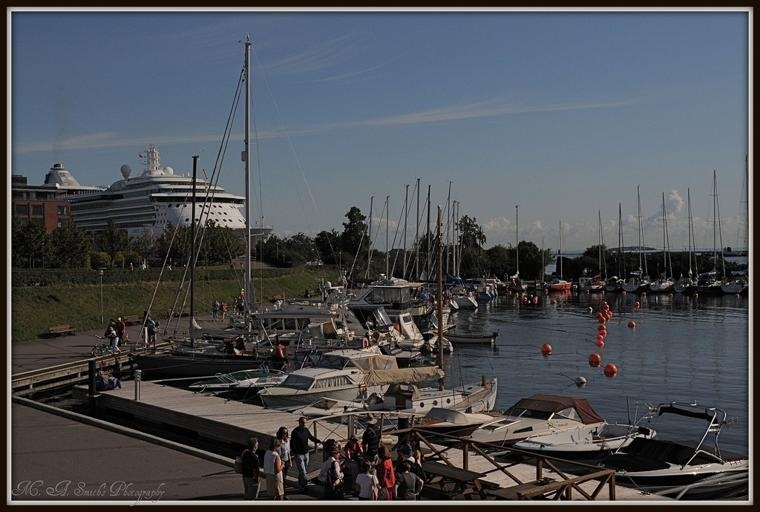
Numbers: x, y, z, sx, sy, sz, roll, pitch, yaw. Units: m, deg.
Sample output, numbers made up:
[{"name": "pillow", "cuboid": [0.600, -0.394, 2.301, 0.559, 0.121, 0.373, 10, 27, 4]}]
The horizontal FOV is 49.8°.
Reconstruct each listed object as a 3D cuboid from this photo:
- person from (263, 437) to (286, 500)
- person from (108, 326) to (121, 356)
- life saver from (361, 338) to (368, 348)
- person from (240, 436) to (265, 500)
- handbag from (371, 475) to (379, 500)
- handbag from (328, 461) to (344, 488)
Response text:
[{"name": "person", "cuboid": [-3.333, 6.728, 25.866, 0.652, 1.893, 0.514, 0, -3, 0]}, {"name": "person", "cuboid": [-14.815, 4.647, 45.953, 0.722, 1.515, 2.150, 1, -3, -18]}, {"name": "life saver", "cuboid": [-0.786, 4.674, 43.956, 0.120, 0.386, 0.388, 1, -1, 18]}, {"name": "person", "cuboid": [-4.083, 6.776, 26.194, 0.616, 1.905, 0.808, 0, -3, -11]}, {"name": "handbag", "cuboid": [-0.135, 7.055, 24.885, 0.259, 0.711, 0.792, -3, -4, 8]}, {"name": "handbag", "cuboid": [-1.299, 6.850, 25.925, 0.316, 0.807, 0.617, -2, -4, 39]}]
